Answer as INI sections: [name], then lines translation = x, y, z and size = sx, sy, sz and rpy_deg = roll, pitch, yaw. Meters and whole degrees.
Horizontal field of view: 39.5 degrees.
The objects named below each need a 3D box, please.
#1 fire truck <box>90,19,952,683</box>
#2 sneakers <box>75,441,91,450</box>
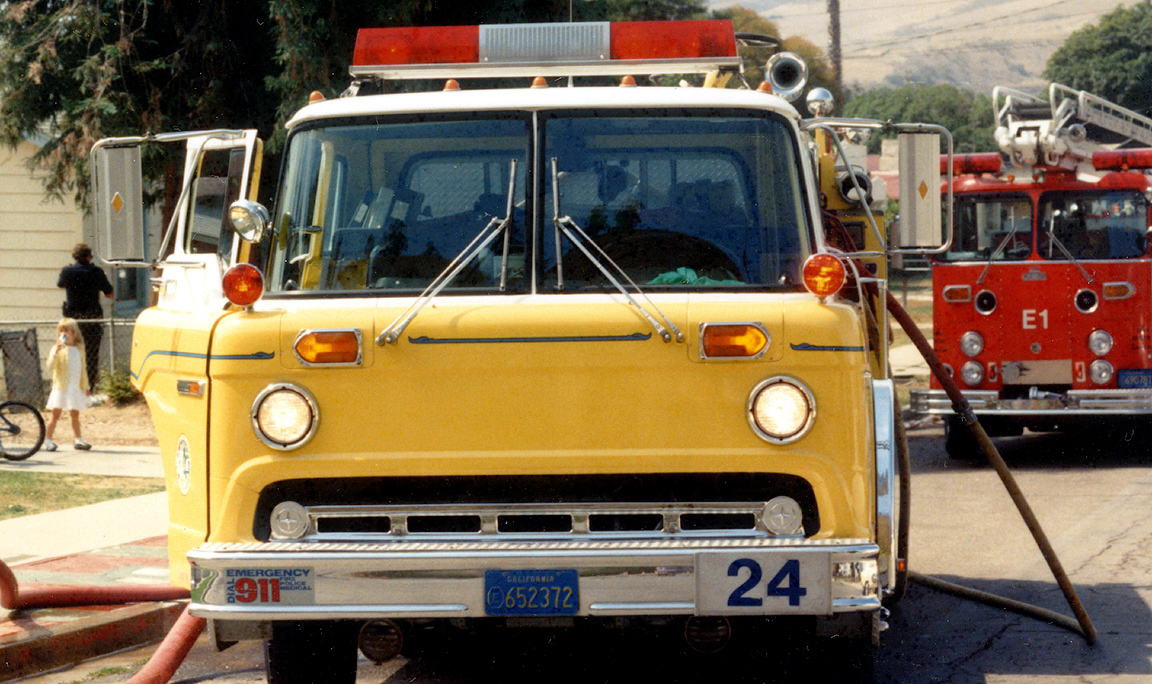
[fire truck]
translation = -0.140, -0.100, 14.747
size = 6.961, 5.473, 6.692
rpy_deg = -1, 5, 12
[sneakers]
translation = -6.401, 1.326, 20.532
size = 0.260, 0.111, 0.093
rpy_deg = 1, 6, -1
